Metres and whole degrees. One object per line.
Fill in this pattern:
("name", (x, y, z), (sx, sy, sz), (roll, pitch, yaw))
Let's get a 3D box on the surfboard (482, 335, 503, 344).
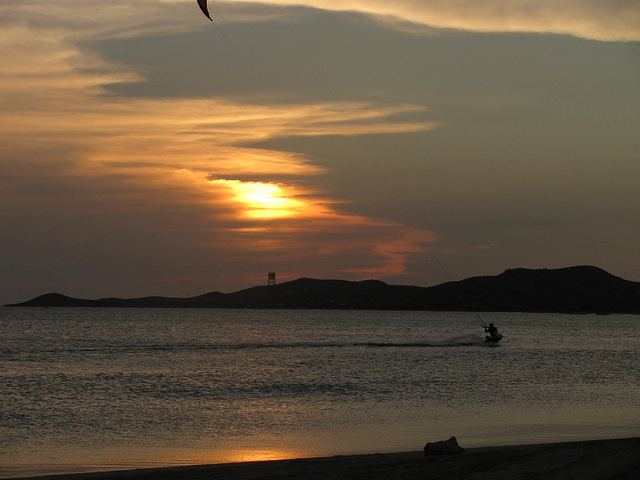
("surfboard", (19.269, 11.327, 153.778), (1.404, 0.340, 0.996), (0, -17, -38))
